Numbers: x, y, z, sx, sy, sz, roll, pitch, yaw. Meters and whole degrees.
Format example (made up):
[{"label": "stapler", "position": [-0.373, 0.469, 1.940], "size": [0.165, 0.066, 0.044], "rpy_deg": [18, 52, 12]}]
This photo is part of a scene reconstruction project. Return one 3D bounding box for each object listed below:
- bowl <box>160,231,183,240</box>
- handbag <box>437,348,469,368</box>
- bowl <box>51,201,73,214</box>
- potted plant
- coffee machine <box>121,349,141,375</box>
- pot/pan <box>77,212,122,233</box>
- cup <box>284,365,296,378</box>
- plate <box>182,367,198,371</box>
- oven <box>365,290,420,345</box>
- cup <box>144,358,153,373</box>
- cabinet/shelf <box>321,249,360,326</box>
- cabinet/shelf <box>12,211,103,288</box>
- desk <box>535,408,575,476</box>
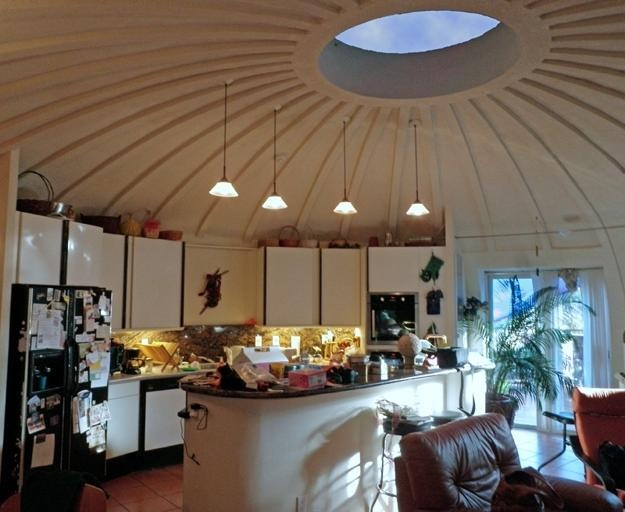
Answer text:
[{"label": "bowl", "position": [-1.924, -0.269, 6.232], "size": [0.212, 0.101, 0.145], "rpy_deg": [-4, -7, 28]}, {"label": "handbag", "position": [1.424, 1.016, 4.712], "size": [0.217, 0.144, 0.222], "rpy_deg": [-3, 2, -24]}, {"label": "bowl", "position": [-2.574, -0.487, 4.730], "size": [0.160, 0.118, 0.121], "rpy_deg": [13, -12, -42]}, {"label": "potted plant", "position": [2.955, 1.153, 7.039], "size": [1.354, 1.673, 1.252], "rpy_deg": [20, -1, 43]}, {"label": "coffee machine", "position": [-2.178, 1.256, 5.520], "size": [0.233, 0.283, 0.205], "rpy_deg": [1, -10, -13]}, {"label": "pot/pan", "position": [-2.555, -0.400, 5.593], "size": [0.342, 0.198, 0.311], "rpy_deg": [2, -6, -28]}, {"label": "cup", "position": [-0.203, 1.028, 4.129], "size": [0.112, 0.106, 0.050], "rpy_deg": [-11, -13, 41]}, {"label": "plate", "position": [-1.561, 1.425, 5.838], "size": [0.183, 0.038, 0.256], "rpy_deg": [3, -11, -24]}, {"label": "oven", "position": [1.147, 0.910, 6.895], "size": [0.764, 0.763, 0.523], "rpy_deg": [0, -2, -3]}, {"label": "cup", "position": [-2.013, 1.343, 5.656], "size": [0.113, 0.197, 0.113], "rpy_deg": [0, -8, 0]}, {"label": "cabinet/shelf", "position": [0.424, 0.462, 6.820], "size": [0.615, 1.101, 0.167], "rpy_deg": [-2, -10, 1]}, {"label": "cabinet/shelf", "position": [-2.615, -0.028, 4.727], "size": [0.772, 0.701, 0.273], "rpy_deg": [3, -5, -6]}, {"label": "desk", "position": [2.591, 1.881, 4.928], "size": [0.282, 0.321, 0.277], "rpy_deg": [14, -37, -5]}]
